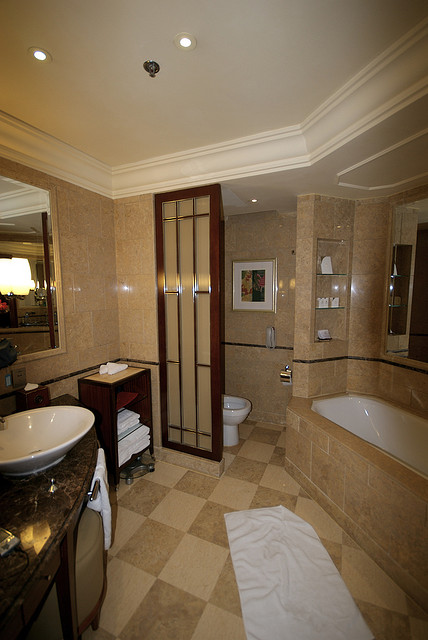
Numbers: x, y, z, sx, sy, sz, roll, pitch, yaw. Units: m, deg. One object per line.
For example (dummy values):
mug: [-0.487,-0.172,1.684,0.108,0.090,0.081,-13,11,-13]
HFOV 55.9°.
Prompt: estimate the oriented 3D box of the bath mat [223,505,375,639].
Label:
bath mat: [0.354,1.265,2.073,0.543,0.029,0.862,-2,11,-10]

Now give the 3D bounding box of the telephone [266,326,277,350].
telephone: [0.529,0.166,3.702,0.090,0.220,0.034,1,9,5]

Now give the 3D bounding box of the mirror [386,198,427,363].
mirror: [1.403,-0.273,2.822,0.127,1.093,0.386,-3,10,-16]

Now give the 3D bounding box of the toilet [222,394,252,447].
toilet: [0.182,0.834,3.478,0.308,0.438,0.451,-1,1,10]
